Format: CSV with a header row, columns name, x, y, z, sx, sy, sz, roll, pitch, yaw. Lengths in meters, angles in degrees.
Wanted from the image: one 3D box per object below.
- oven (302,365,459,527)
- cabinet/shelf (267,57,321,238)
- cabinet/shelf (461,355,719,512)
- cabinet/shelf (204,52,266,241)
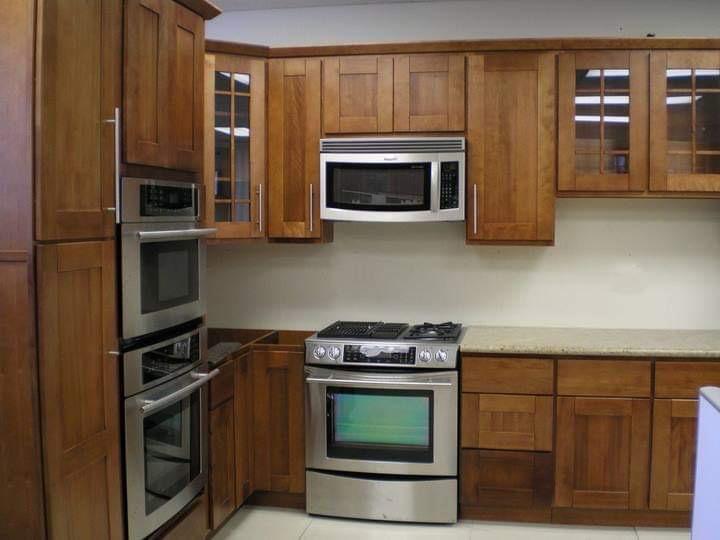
name,x,y,z,sx,sy,sz,roll,pitch,yaw
oven,0.138,0.930,3.986,1.015,1.035,0.770,0,-3,13
cabinet/shelf,-0.377,-0.698,3.929,0.314,1.066,0.084,0,1,7
cabinet/shelf,1.199,0.822,3.403,0.953,0.609,0.288,0,-3,5
cabinet/shelf,-0.747,-0.677,3.837,0.413,1.055,0.140,-5,10,-41
